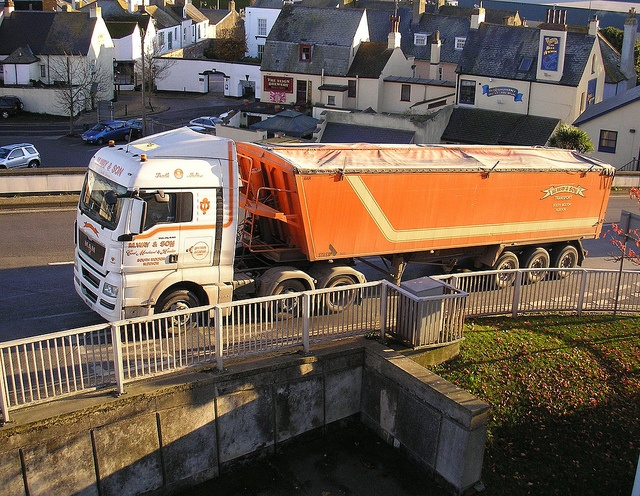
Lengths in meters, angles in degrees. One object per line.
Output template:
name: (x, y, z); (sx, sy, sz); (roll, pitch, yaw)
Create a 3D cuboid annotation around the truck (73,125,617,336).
truck: (1.392, -0.818, 16.648); (13.188, 4.521, 3.632); (-4, 15, -20)
